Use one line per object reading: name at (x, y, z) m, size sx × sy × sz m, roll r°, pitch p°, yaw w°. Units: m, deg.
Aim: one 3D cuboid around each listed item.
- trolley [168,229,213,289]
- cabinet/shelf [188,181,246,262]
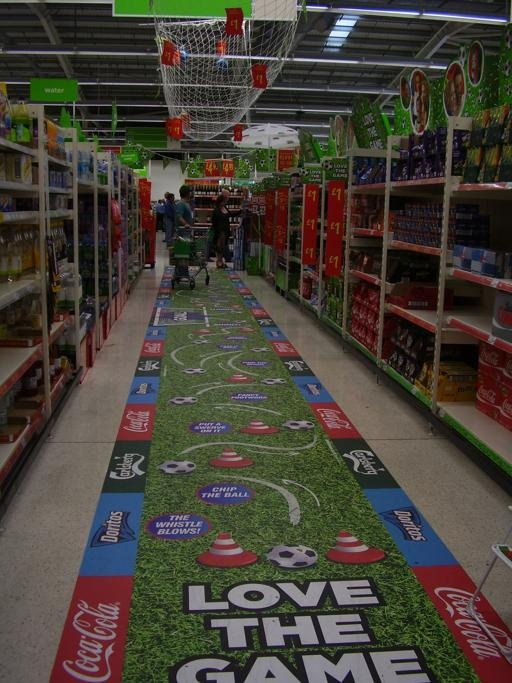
trolley at (-1.413, -1.827, 10.268) m, size 0.676 × 1.152 × 1.159 m, roll 3°, pitch 7°, yaw 13°
cabinet/shelf at (-0.908, -3.004, 12.943) m, size 0.764 × 1.933 × 0.887 m, roll -11°, pitch 23°, yaw -27°
